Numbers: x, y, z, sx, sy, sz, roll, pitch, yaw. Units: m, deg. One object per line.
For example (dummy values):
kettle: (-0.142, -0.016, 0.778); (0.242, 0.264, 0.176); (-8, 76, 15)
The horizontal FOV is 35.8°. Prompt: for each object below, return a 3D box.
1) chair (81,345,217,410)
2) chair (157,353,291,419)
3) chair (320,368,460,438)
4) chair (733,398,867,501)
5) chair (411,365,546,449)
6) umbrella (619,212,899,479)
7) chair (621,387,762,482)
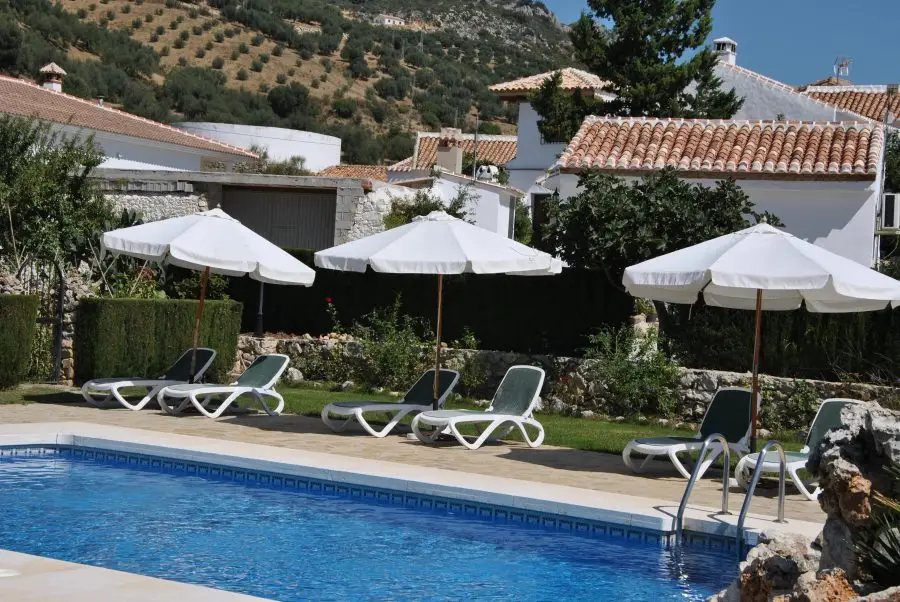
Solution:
chair: (-7.256, 1.869, 33.305); (2.814, 1.460, 1.489); (3, -4, -37)
chair: (-5.213, 2.046, 32.756); (2.677, 1.398, 1.483); (5, -3, -38)
chair: (-1.277, 2.313, 31.768); (2.743, 1.427, 1.503); (3, -4, -42)
chair: (6.961, 2.940, 28.389); (1.944, 2.144, 3.664); (6, 1, 20)
chair: (0.707, 2.362, 31.045); (2.594, 1.794, 1.674); (4, -4, -37)
umbrella: (6.967, 0.646, 30.183); (4.849, 4.854, 5.143); (-1, 1, 27)
chair: (5.110, 2.752, 29.399); (2.791, 1.943, 1.604); (3, -1, -41)
